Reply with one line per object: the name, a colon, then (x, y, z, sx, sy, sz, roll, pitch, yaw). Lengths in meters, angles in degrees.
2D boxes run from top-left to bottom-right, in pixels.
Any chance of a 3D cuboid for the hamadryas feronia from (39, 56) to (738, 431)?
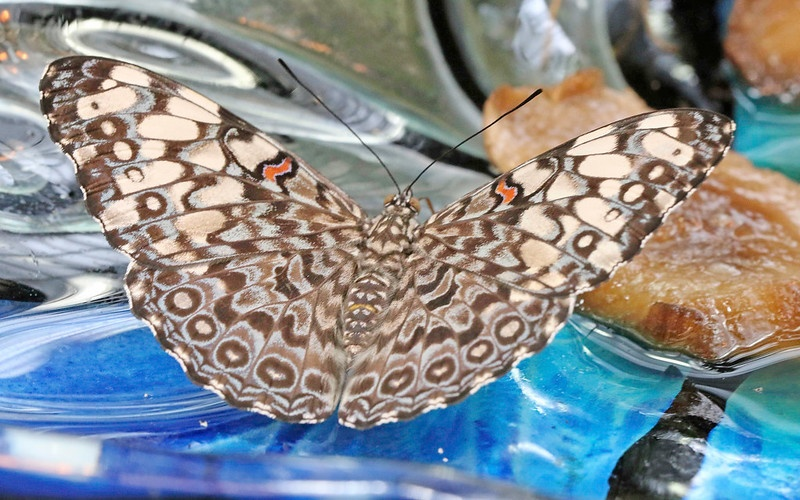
hamadryas feronia: (-0.129, -0.028, 1.070, 0.867, 0.202, 0.541, 18, 72, 3)
